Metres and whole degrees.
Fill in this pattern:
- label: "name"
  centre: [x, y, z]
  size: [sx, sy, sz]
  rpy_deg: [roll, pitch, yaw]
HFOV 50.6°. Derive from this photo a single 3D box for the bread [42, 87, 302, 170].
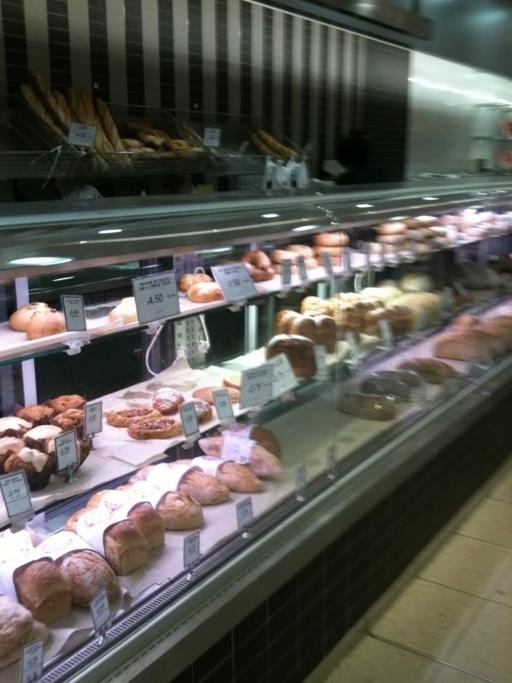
- label: "bread"
  centre: [-0.290, -0.680, 1.851]
  size: [0.992, 0.281, 0.212]
  rpy_deg: [-12, 19, -44]
